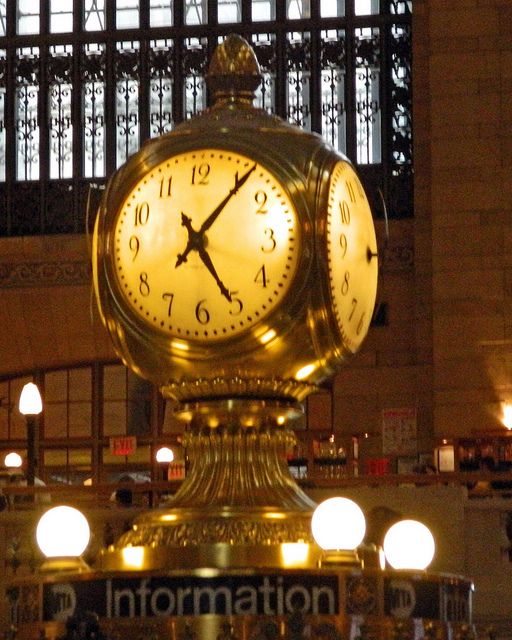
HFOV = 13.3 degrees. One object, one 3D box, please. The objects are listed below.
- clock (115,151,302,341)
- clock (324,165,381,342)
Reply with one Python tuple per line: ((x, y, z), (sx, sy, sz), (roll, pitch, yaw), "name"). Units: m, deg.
((-0.236, -0.320, 9.488), (0.728, 0.916, 0.817), (0, -21, -4), "clock")
((0.412, -0.274, 9.504), (0.091, 0.886, 0.672), (-4, -10, 23), "clock")
